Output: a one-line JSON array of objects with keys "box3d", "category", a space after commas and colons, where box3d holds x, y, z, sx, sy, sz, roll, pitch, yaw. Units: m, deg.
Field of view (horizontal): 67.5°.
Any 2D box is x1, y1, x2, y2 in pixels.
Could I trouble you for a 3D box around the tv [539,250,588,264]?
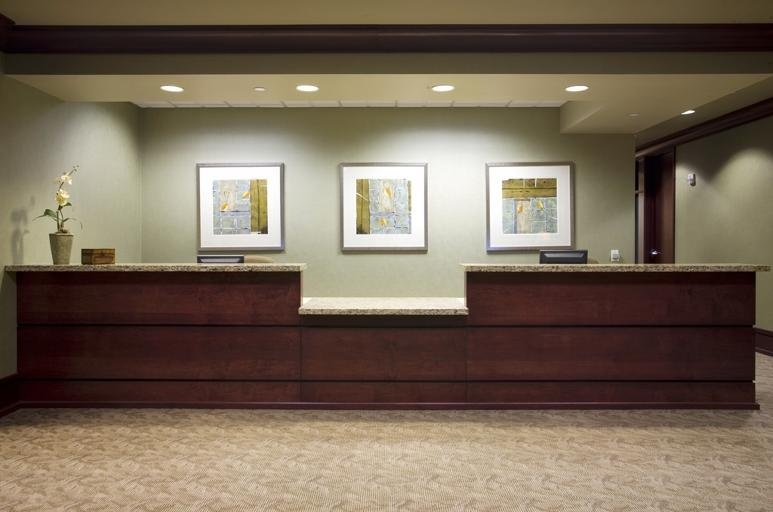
[{"box3d": [1.897, 0.005, 6.218, 0.463, 0.129, 0.201, 1, 3, 12], "category": "tv"}]
